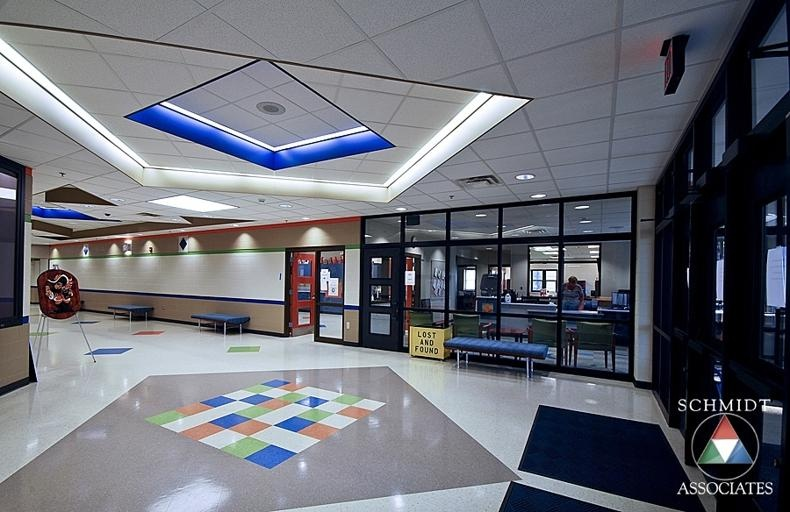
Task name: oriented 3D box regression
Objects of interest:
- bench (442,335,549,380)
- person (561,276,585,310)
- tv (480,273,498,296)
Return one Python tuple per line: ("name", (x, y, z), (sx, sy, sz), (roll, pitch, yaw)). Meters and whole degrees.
("bench", (1.822, 1.784, 8.375), (1.739, 0.657, 0.850), (6, 11, 26))
("person", (3.918, 0.753, 10.278), (0.390, 0.713, 1.833), (6, 11, 21))
("tv", (1.916, 0.630, 9.500), (0.281, 0.466, 0.618), (0, 10, -6))
